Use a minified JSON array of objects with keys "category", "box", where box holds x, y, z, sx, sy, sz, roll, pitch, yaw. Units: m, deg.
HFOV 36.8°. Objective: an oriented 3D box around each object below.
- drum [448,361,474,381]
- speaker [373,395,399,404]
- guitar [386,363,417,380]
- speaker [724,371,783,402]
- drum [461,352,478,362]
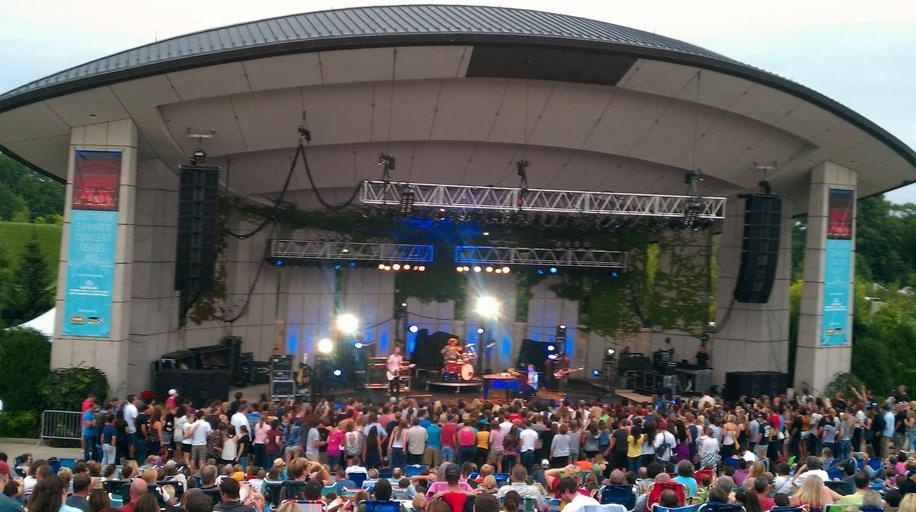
[{"category":"drum","box":[0.098,6.549,77.766,1.831,1.036,0.984,3,-45,6]},{"category":"speaker","box":[-3.840,7.565,72.596,1.138,0.548,0.502,0,-9,-6]},{"category":"guitar","box":[-3.495,6.516,77.065,0.857,0.570,1.338,8,-17,-30]},{"category":"speaker","box":[16.285,7.204,76.380,3.725,1.462,2.220,3,0,-11]},{"category":"drum","box":[0.520,5.737,78.257,0.696,0.297,0.807,0,1,1]}]
